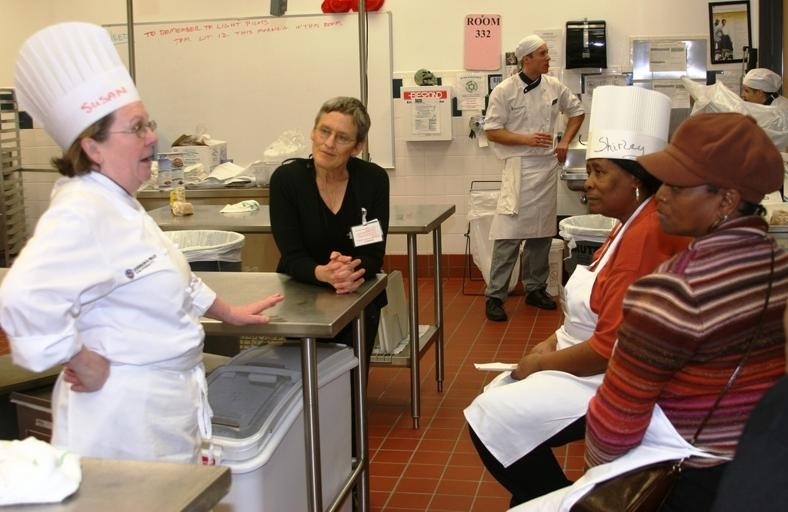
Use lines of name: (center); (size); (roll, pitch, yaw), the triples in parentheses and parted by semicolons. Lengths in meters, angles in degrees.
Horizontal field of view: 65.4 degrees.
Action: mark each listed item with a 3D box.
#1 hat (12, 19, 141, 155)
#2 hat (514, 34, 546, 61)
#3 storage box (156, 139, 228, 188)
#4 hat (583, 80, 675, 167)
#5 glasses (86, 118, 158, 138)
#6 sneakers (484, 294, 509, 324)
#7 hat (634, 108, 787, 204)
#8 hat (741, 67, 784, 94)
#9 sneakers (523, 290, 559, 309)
hat: (-0.946, -0.483, 1.902); (0.386, 0.305, 0.328); (-18, 6, 41)
hat: (1.126, -1.740, 5.161); (0.244, 0.192, 0.190); (-16, 37, 30)
storage box: (-1.754, -0.770, 5.691); (0.612, 0.406, 0.861); (0, -1, 8)
hat: (0.845, -0.470, 2.291); (0.344, 0.320, 0.278); (2, 1, 1)
glasses: (-0.789, -0.365, 1.750); (0.160, 0.042, 0.125); (-1, 8, 7)
sneakers: (0.871, 0.449, 5.259); (0.206, 0.243, 0.611); (0, -3, -1)
hat: (0.860, -0.292, 1.721); (0.332, 0.193, 0.225); (8, 17, 10)
hat: (2.748, -1.300, 4.556); (0.241, 0.134, 0.202); (8, 20, 18)
sneakers: (1.313, 0.374, 5.552); (0.128, 0.142, 0.331); (-10, 10, -40)
